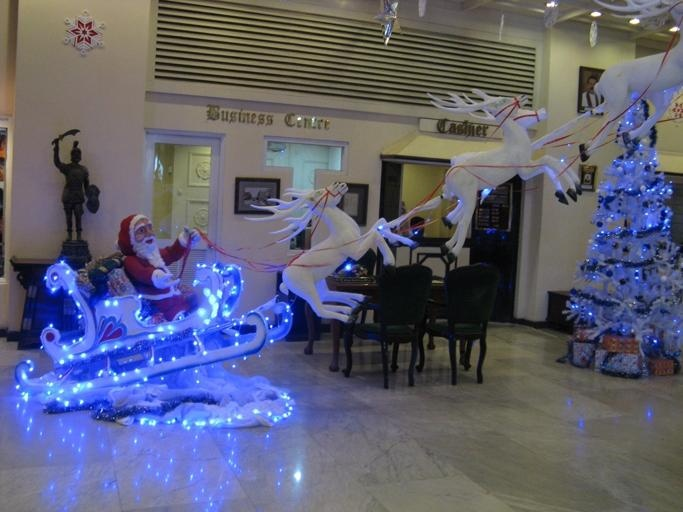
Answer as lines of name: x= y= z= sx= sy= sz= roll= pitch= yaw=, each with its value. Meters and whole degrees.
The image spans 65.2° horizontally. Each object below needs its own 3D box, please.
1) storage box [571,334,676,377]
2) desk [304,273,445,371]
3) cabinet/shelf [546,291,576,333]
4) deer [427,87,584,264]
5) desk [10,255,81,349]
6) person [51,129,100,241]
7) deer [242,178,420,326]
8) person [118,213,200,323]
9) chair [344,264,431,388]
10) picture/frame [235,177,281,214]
storage box: x=3.552 y=1.257 z=6.632 sx=0.650 sy=0.259 sz=0.719 roll=1 pitch=1 yaw=-23
desk: x=0.220 y=0.565 z=6.945 sx=1.493 sy=1.206 sz=1.206 roll=-1 pitch=1 yaw=-29
cabinet/shelf: x=3.407 y=0.866 z=8.242 sx=0.400 sy=0.644 sz=0.659 roll=-1 pitch=2 yaw=-4
deer: x=1.484 y=-0.759 z=4.901 sx=1.121 sy=1.535 sz=0.490 roll=3 pitch=8 yaw=8
desk: x=-3.340 y=0.519 z=6.049 sx=0.993 sy=1.125 sz=0.732 roll=1 pitch=-3 yaw=-11
person: x=-3.323 y=-0.893 z=6.680 sx=0.525 sy=1.370 sz=0.455 roll=-2 pitch=9 yaw=-24
deer: x=0.048 y=-0.110 z=5.939 sx=2.128 sy=1.900 sz=0.959 roll=-7 pitch=6 yaw=2
person: x=-1.724 y=0.096 z=5.575 sx=0.970 sy=1.266 sz=0.805 roll=1 pitch=7 yaw=16
chair: x=0.640 y=0.793 z=6.127 sx=0.733 sy=1.355 sz=0.779 roll=4 pitch=-5 yaw=-19
picture/frame: x=-1.159 y=-0.819 z=7.190 sx=0.704 sy=0.658 sz=0.059 roll=0 pitch=0 yaw=-20
